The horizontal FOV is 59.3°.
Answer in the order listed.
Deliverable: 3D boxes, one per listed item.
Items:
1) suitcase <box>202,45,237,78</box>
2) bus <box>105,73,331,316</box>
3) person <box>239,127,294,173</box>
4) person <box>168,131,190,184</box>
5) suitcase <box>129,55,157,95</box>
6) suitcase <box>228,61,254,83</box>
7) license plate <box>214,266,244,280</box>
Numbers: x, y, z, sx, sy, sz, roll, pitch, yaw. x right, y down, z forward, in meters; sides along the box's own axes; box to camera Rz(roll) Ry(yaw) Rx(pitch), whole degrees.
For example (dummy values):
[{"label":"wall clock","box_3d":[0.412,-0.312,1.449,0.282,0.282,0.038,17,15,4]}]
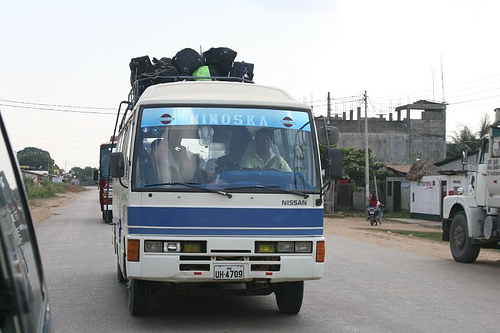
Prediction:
[{"label":"suitcase","box_3d":[-0.728,-2.674,10.395,0.893,0.347,1.076,-7,22,-5]},{"label":"bus","box_3d":[-0.844,0.587,8.191,2.336,2.357,4.446,2,-5,-12]},{"label":"person","box_3d":[0.202,-0.205,6.490,0.807,0.687,0.510,-3,3,-28]},{"label":"person","box_3d":[-1.032,-0.173,6.372,0.204,0.816,0.217,-12,-8,-14]},{"label":"suitcase","box_3d":[-2.360,-1.991,9.692,0.453,0.870,0.856,1,-3,-25]},{"label":"suitcase","box_3d":[-0.235,-2.113,9.976,0.566,0.518,0.336,10,8,27]},{"label":"license plate","box_3d":[-0.287,1.466,6.082,0.406,0.184,0.046,0,-2,-11]}]
